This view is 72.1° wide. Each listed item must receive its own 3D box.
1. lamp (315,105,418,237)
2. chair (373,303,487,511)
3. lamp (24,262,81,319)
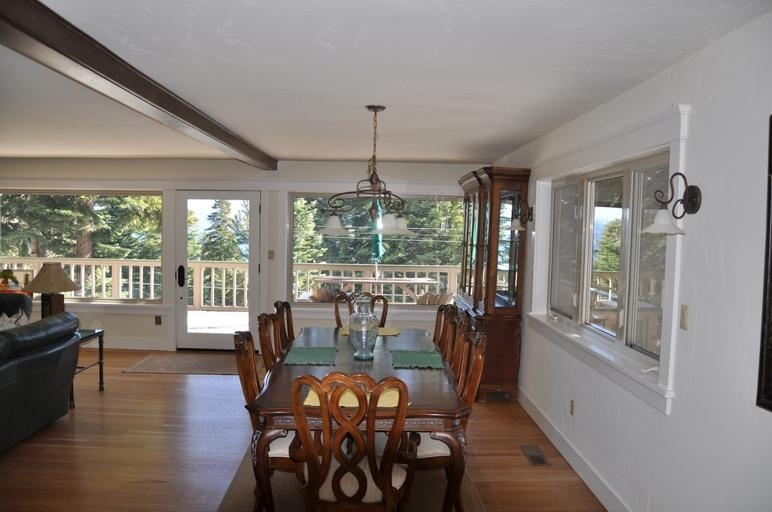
[{"bbox_3d":[-0.120,-0.783,4.750,1.046,1.030,0.871,5,10,1],"label":"lamp"},{"bbox_3d":[0.182,1.105,4.259,1.301,1.639,1.124,2,-6,-6],"label":"chair"},{"bbox_3d":[-3.249,0.337,5.466,0.586,0.651,0.600,0,-1,37],"label":"lamp"}]
